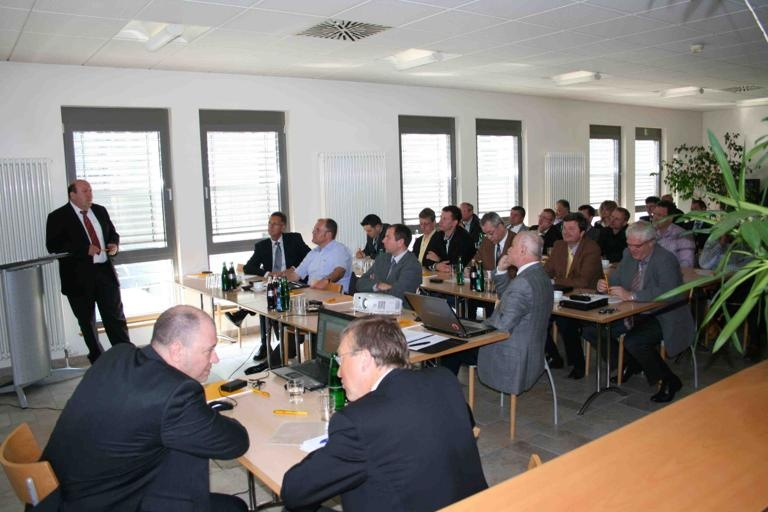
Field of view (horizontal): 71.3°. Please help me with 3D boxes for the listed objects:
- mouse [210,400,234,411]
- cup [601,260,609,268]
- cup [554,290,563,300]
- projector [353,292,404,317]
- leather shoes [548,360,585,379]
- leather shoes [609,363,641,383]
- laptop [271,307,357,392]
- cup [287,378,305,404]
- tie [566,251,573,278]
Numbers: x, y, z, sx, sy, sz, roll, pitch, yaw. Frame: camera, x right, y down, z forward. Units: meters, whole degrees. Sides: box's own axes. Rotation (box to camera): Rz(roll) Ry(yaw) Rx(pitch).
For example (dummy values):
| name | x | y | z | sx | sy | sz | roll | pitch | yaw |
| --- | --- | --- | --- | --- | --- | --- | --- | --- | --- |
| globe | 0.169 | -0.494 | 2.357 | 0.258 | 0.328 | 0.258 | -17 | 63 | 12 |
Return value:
| name | x | y | z | sx | sy | sz | roll | pitch | yaw |
| --- | --- | --- | --- | --- | --- | --- | --- | --- | --- |
| mouse | -1.102 | 1.005 | 3.661 | 0.169 | 0.053 | 0.092 | 1 | 2 | 13 |
| cup | 2.819 | 0.102 | 6.898 | 0.102 | 0.112 | 0.105 | 0 | 0 | 0 |
| cup | 1.877 | 0.422 | 5.766 | 0.091 | 0.068 | 0.091 | -1 | 0 | 0 |
| projector | -0.033 | 0.476 | 5.409 | 0.350 | 0.127 | 0.257 | -1 | 5 | -33 |
| leather shoes | 2.172 | 1.349 | 6.402 | 0.181 | 0.228 | 0.599 | -2 | -16 | 35 |
| leather shoes | 2.809 | 1.327 | 6.188 | 0.484 | 0.193 | 0.160 | -4 | 6 | -23 |
| laptop | -0.519 | 0.743 | 4.205 | 0.603 | 0.505 | 0.706 | -1 | 4 | -30 |
| cup | -0.625 | 0.940 | 3.792 | 0.103 | 0.145 | 0.155 | -1 | -3 | -6 |
| tie | 2.351 | 0.095 | 6.800 | 0.062 | 0.243 | 0.174 | 6 | -8 | -1 |
